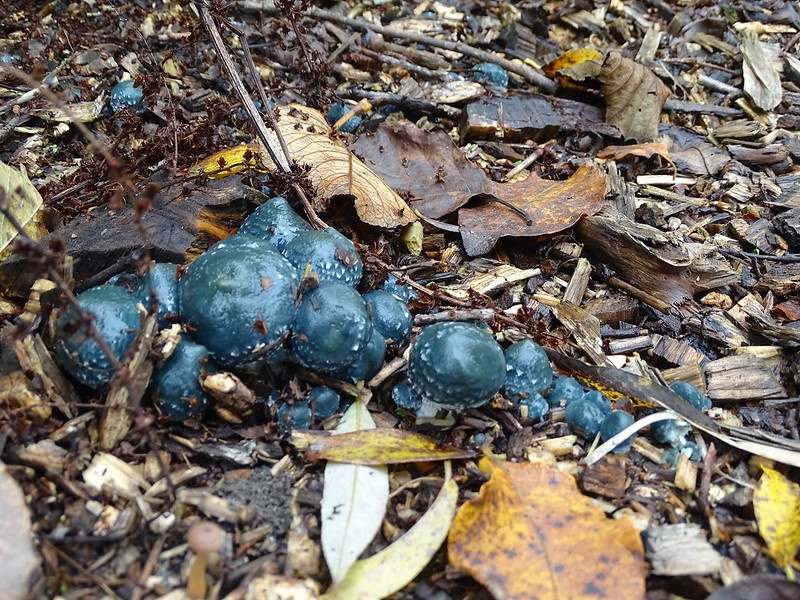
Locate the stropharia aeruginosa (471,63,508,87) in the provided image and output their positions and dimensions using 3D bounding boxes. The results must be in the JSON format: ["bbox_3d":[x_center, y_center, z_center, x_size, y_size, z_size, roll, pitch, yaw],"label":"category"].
[{"bbox_3d":[0.647,-1.581,5.283,0.214,0.129,0.170,16,15,-38],"label":"stropharia aeruginosa"}]
